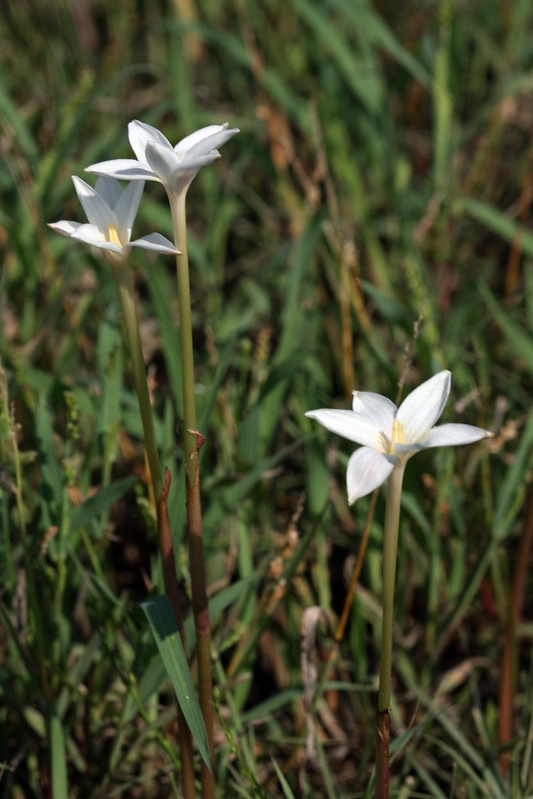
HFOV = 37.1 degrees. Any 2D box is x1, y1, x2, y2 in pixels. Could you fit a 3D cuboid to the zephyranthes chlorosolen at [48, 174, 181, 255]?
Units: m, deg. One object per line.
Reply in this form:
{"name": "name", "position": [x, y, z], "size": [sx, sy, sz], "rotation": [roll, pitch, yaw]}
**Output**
{"name": "zephyranthes chlorosolen", "position": [-0.178, -0.208, 0.855], "size": [0.090, 0.050, 0.068], "rotation": [8, 26, 21]}
